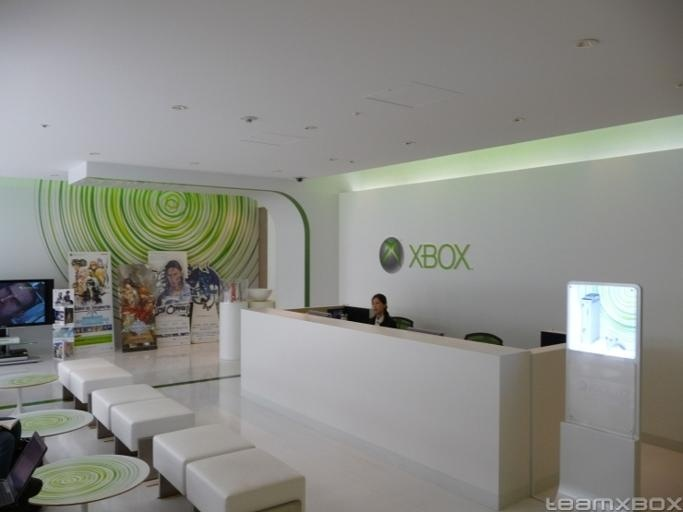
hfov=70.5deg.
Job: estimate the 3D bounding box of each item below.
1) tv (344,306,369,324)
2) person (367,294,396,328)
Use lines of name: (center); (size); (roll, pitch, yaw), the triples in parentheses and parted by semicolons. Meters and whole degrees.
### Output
tv: (0.222, 0.927, 7.732); (0.261, 0.202, 0.617); (-1, 3, -34)
person: (0.598, 0.813, 7.178); (0.360, 0.493, 0.775); (1, 2, 3)
